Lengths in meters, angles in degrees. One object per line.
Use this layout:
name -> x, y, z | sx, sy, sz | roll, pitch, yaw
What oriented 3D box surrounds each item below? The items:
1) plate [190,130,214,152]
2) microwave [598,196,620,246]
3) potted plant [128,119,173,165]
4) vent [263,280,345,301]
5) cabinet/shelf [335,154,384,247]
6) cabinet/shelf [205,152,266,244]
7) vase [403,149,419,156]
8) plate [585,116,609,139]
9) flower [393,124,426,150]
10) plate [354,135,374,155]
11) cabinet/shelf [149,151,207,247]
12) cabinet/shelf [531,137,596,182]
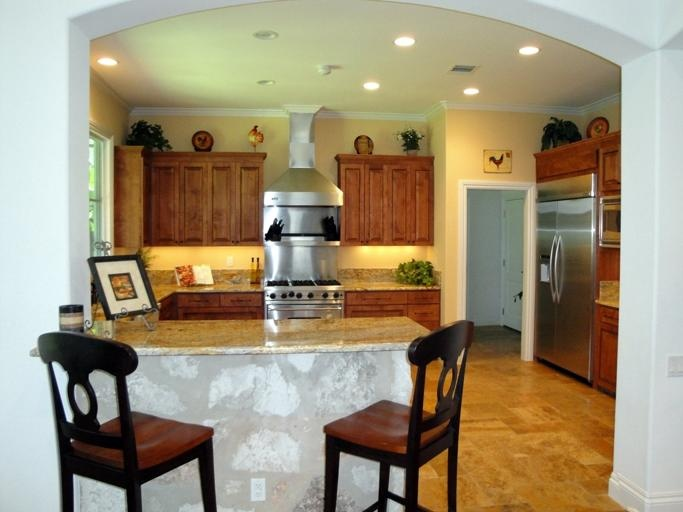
plate -> -1.725, -1.404, 6.507 | 0.256, 0.258, 0.125 | 10, 9, 11
microwave -> 2.753, -0.360, 5.469 | 0.145, 0.510, 0.300 | 7, 8, -2
potted plant -> -2.241, -1.371, 6.276 | 0.523, 0.478, 0.480 | 1, 5, 17
vent -> -0.472, 0.411, 6.379 | 0.927, 0.274, 0.508 | 7, 8, -8
cabinet/shelf -> 0.276, -0.723, 6.756 | 0.620, 1.173, 0.292 | 0, 21, 3
cabinet/shelf -> -1.292, -0.694, 6.435 | 0.678, 1.160, 0.227 | 5, 9, -16
vase -> 0.881, -1.322, 6.771 | 0.153, 0.094, 0.135 | 8, 8, -1
plate -> 2.798, -1.414, 5.819 | 0.079, 0.230, 0.271 | 6, 8, -12
flower -> 0.920, -1.497, 6.927 | 0.378, 0.277, 0.382 | 1, -2, -3
plate -> 0.276, -1.398, 6.711 | 0.251, 0.258, 0.075 | 2, -1, -25
cabinet/shelf -> -2.006, -0.689, 6.511 | 0.695, 1.172, 0.329 | -2, 19, -24
cabinet/shelf -> 2.518, -1.059, 5.997 | 0.112, 0.458, 0.895 | 5, 8, -17
